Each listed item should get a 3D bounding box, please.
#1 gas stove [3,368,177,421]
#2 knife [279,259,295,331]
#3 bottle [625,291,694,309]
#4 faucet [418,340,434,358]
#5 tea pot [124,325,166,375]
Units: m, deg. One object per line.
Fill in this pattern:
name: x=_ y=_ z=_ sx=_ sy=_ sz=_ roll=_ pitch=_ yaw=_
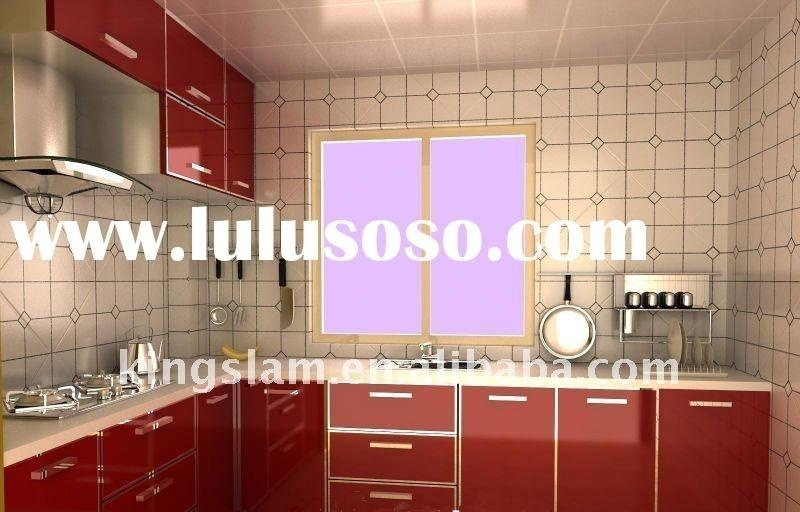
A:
gas stove: x=-1.770 y=0.792 z=3.562 sx=0.430 sy=0.183 sz=0.820 roll=-4 pitch=-5 yaw=39
knife: x=-0.795 y=0.268 z=4.427 sx=0.112 sy=0.545 sz=0.020 roll=7 pitch=17 yaw=19
bottle: x=1.738 y=0.300 z=4.181 sx=0.447 sy=0.121 sz=0.054 roll=-2 pitch=-3 yaw=6
faucet: x=0.191 y=0.656 z=4.329 sx=0.090 sy=0.102 sz=0.069 roll=-2 pitch=-4 yaw=7
tea pot: x=-1.620 y=0.599 z=4.001 sx=0.307 sy=0.287 sz=0.224 roll=2 pitch=3 yaw=-24
